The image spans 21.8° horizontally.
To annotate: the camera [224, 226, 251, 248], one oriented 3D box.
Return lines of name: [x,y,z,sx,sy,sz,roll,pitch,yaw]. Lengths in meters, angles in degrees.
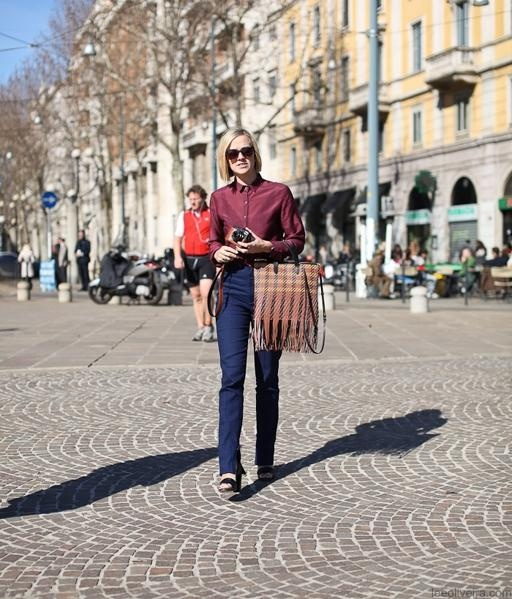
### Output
camera: [-0.087,-0.324,7.314,0.108,0.102,0.152,17,-3,-34]

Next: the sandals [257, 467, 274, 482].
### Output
sandals: [0.058,1.000,7.620,0.079,0.049,0.133,1,1,1]

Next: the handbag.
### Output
handbag: [0.182,0.036,7.453,0.399,0.518,0.277,0,3,0]

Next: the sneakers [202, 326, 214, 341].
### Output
sneakers: [-0.542,0.384,14.774,0.149,0.186,0.435,0,-2,3]

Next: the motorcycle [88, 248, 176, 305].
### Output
motorcycle: [-2.239,-0.359,22.520,1.669,1.059,0.709,5,-5,36]
